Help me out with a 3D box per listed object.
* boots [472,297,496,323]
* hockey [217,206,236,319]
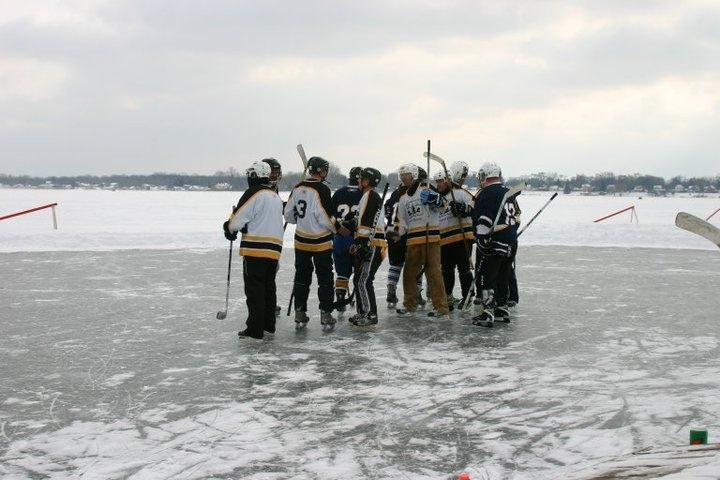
[{"bbox_3d":[1.897,1.072,10.884,0.240,0.393,0.450,0,5,-41],"label":"boots"},{"bbox_3d":[-2.072,0.557,11.080,0.225,1.288,0.274,7,-17,-22],"label":"hockey"}]
